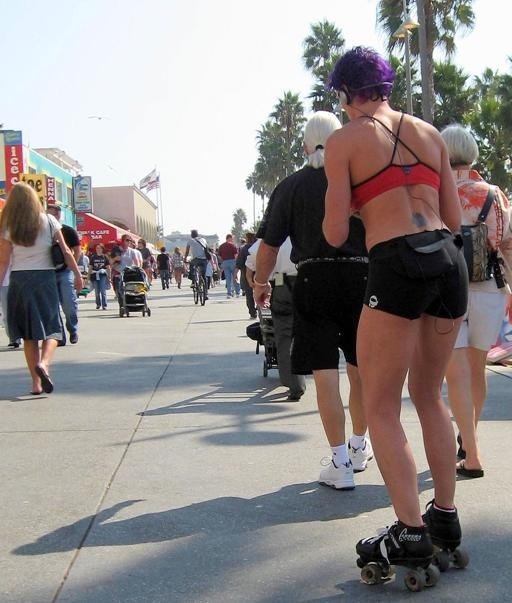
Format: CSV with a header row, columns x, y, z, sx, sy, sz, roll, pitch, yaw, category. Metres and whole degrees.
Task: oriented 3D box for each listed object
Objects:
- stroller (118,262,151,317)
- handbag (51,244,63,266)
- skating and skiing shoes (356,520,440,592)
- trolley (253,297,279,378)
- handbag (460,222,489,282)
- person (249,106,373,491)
x,y,z,sx,sy,sz,roll,pitch,yaw,category
-3.517,-0.339,16.272,0.805,1.509,1.023,1,5,-12,stroller
-2.067,-0.495,5.893,0.067,0.173,0.183,-9,15,-18,handbag
0.453,0.803,1.853,0.170,0.237,0.257,0,-1,-40,skating and skiing shoes
0.109,0.440,6.653,0.398,0.756,0.340,14,6,-23,trolley
1.177,-0.270,3.078,0.209,0.372,0.196,-2,5,6,handbag
0.489,-0.031,3.363,0.835,1.877,0.722,-1,0,29,person
